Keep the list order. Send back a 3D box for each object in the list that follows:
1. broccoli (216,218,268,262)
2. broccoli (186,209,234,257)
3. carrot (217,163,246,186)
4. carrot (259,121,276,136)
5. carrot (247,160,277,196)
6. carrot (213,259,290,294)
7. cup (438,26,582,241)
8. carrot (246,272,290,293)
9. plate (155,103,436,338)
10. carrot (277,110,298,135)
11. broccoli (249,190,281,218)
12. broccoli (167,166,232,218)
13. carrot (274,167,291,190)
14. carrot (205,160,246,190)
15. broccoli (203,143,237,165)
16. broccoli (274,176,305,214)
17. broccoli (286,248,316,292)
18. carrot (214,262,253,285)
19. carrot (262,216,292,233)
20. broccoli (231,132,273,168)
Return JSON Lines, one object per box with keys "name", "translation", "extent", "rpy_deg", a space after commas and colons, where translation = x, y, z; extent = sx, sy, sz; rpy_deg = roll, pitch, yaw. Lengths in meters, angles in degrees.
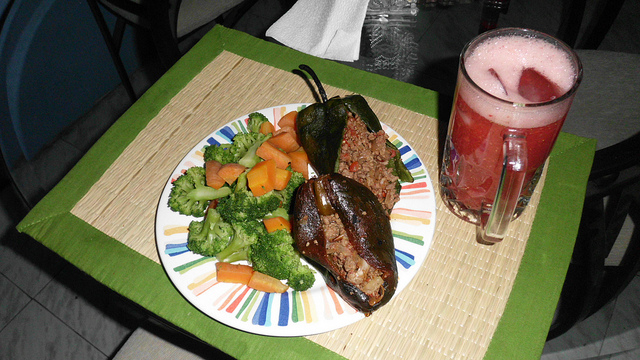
{"name": "broccoli", "translation": [-0.267, 0.198, 1.501], "extent": [0.157, 0.079, 0.119], "rpy_deg": [-44, 97, -7]}
{"name": "broccoli", "translation": [-0.370, 0.185, 1.480], "extent": [0.132, 0.053, 0.134], "rpy_deg": [-1, 65, -11]}
{"name": "carrot", "translation": [-0.302, -0.017, 1.532], "extent": [0.067, 0.032, 0.090], "rpy_deg": [36, 94, -20]}
{"name": "carrot", "translation": [-0.190, -0.192, 1.633], "extent": [0.043, 0.056, 0.032], "rpy_deg": [5, 22, -23]}
{"name": "carrot", "translation": [-0.185, -0.013, 1.498], "extent": [0.113, 0.043, 0.113], "rpy_deg": [-29, 82, 2]}
{"name": "carrot", "translation": [-0.228, 0.334, 1.488], "extent": [0.258, 0.068, 0.098], "rpy_deg": [11, 55, -2]}
{"name": "cup", "translation": [0.592, -0.151, 1.465], "extent": [0.431, 0.505, 0.500], "rpy_deg": [34, 59, 23]}
{"name": "carrot", "translation": [-0.174, 0.341, 1.416], "extent": [0.116, 0.040, 0.059], "rpy_deg": [13, 51, -5]}
{"name": "plate", "translation": [-0.089, 0.126, 1.512], "extent": [0.938, 0.259, 0.774], "rpy_deg": [11, 53, 7]}
{"name": "carrot", "translation": [-0.120, -0.211, 1.630], "extent": [0.094, 0.031, 0.066], "rpy_deg": [14, 83, 7]}
{"name": "broccoli", "translation": [-0.193, 0.086, 1.513], "extent": [0.089, 0.052, 0.095], "rpy_deg": [-35, 82, -24]}
{"name": "broccoli", "translation": [-0.438, 0.052, 1.569], "extent": [0.184, 0.077, 0.155], "rpy_deg": [-16, 76, -18]}
{"name": "carrot", "translation": [-0.129, -0.004, 1.586], "extent": [0.084, 0.059, 0.062], "rpy_deg": [8, 87, 14]}
{"name": "carrot", "translation": [-0.342, -0.013, 1.583], "extent": [0.099, 0.041, 0.124], "rpy_deg": [-28, 70, -3]}
{"name": "broccoli", "translation": [-0.364, -0.085, 1.625], "extent": [0.109, 0.135, 0.056], "rpy_deg": [-2, 79, -34]}
{"name": "broccoli", "translation": [-0.095, 0.063, 1.507], "extent": [0.105, 0.046, 0.130], "rpy_deg": [9, 79, -8]}
{"name": "broccoli", "translation": [-0.065, 0.307, 1.388], "extent": [0.076, 0.044, 0.089], "rpy_deg": [-22, 71, -6]}
{"name": "carrot", "translation": [-0.281, 0.312, 1.419], "extent": [0.103, 0.033, 0.065], "rpy_deg": [8, 88, 3]}
{"name": "carrot", "translation": [-0.152, 0.156, 1.504], "extent": [0.097, 0.067, 0.051], "rpy_deg": [9, 102, -4]}
{"name": "broccoli", "translation": [-0.254, -0.077, 1.586], "extent": [0.148, 0.141, 0.052], "rpy_deg": [-3, 64, -35]}
